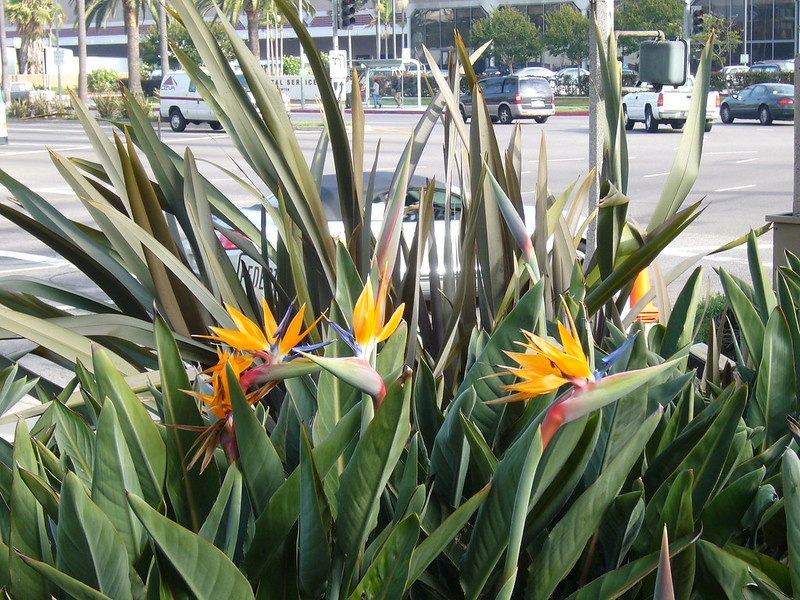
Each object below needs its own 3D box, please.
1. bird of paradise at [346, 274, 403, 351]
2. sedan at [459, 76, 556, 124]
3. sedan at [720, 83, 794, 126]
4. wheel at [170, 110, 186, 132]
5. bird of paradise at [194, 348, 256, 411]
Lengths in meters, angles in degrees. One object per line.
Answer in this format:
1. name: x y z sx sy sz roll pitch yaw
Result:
1. bird of paradise: -0.044 0.027 1.434 0.072 0.167 0.064 11 14 3
2. sedan: 3.970 -6.823 31.432 2.417 1.628 1.228 8 17 36
3. sedan: 10.863 -5.887 27.866 0.645 1.200 2.947 -7 17 -21
4. wheel: -7.275 -5.903 30.150 0.168 0.688 0.496 0 6 -32
5. bird of paradise: -0.279 0.132 1.415 0.084 0.081 0.117 -13 21 -13
